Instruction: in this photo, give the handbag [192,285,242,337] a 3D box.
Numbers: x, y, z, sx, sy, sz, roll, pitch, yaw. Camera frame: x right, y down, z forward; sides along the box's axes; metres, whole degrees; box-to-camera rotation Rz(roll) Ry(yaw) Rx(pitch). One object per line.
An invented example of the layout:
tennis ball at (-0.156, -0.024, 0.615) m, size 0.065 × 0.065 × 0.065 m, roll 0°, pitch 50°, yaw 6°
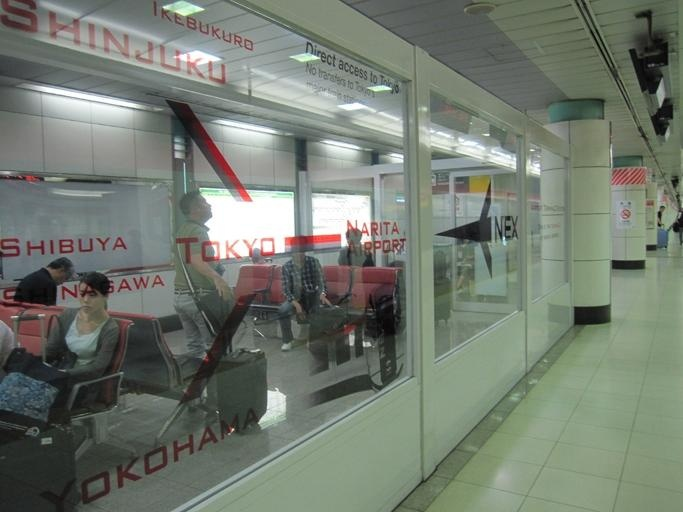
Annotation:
handbag at (-0.456, 0.196, 1.843) m, size 0.061 × 0.154 × 0.125 m, roll -21°, pitch 8°, yaw -39°
